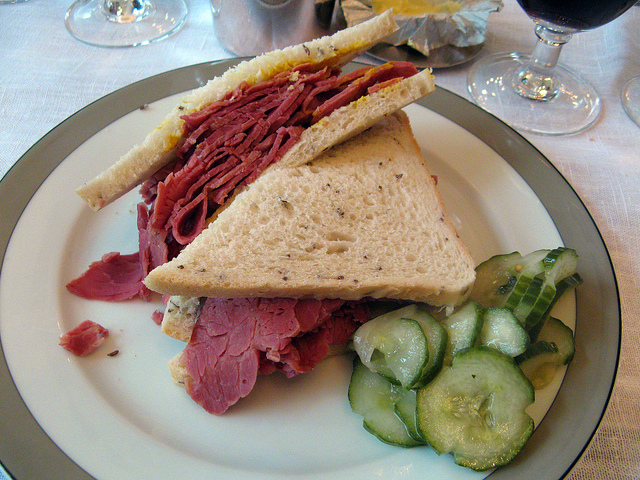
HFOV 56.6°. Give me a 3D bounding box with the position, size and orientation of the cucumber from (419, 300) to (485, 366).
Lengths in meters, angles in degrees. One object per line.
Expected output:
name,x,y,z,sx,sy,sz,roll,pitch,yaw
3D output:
cucumber,0.523,0.363,2.337,0.230,0.062,0.227,-33,44,-6

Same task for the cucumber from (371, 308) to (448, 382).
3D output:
cucumber,0.371,0.379,2.199,0.248,0.046,0.256,28,72,32

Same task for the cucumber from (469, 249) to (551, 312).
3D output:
cucumber,0.782,0.150,2.501,0.272,0.270,0.039,-47,119,-10

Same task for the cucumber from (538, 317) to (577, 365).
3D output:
cucumber,0.950,0.392,2.361,0.165,0.044,0.172,5,60,7

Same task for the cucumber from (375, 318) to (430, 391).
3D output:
cucumber,0.347,0.415,2.283,0.076,0.311,0.279,-20,86,-22

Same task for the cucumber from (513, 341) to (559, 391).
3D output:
cucumber,0.850,0.483,2.348,0.183,0.043,0.184,-7,68,-12

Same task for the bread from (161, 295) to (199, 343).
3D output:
bread,-0.586,0.316,2.492,0.130,0.060,0.190,15,77,1

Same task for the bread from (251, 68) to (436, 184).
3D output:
bread,0.073,-0.516,2.684,0.759,0.207,0.205,-30,85,-7
